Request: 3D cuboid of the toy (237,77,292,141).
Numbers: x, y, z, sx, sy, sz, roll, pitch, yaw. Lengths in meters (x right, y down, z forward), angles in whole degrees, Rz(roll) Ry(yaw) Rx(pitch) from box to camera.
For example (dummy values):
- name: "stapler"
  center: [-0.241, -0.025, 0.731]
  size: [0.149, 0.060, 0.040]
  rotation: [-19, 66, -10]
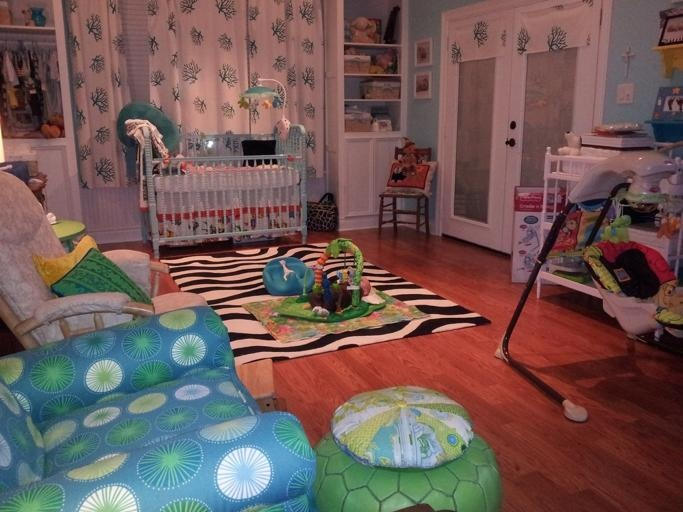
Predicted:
- name: "toy"
  center: [-0.867, -1.708, 5.311]
  size: [0.770, 0.786, 0.583]
  rotation: [-15, 29, -36]

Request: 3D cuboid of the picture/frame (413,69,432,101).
- name: "picture/frame"
  center: [0.999, -2.093, 5.612]
  size: [0.040, 0.397, 0.402]
  rotation: [-7, 13, -29]

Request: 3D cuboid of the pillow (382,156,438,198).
- name: "pillow"
  center: [0.817, -0.905, 5.425]
  size: [0.552, 0.367, 0.289]
  rotation: [2, 12, 19]

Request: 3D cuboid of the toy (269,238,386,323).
- name: "toy"
  center: [-0.105, 0.208, 3.367]
  size: [0.653, 0.452, 0.626]
  rotation: [-1, 17, -12]

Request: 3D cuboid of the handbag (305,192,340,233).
- name: "handbag"
  center: [-0.309, -0.547, 5.922]
  size: [0.513, 0.523, 0.329]
  rotation: [-2, 18, -7]

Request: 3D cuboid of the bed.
- name: "bed"
  center: [-1.374, -0.825, 5.342]
  size: [1.722, 1.336, 1.168]
  rotation: [-6, 16, -18]

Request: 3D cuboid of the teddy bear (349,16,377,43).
- name: "teddy bear"
  center: [0.262, -2.766, 5.794]
  size: [0.331, 0.333, 0.321]
  rotation: [2, -10, -2]

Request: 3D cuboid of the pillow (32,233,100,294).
- name: "pillow"
  center: [-1.207, 0.035, 1.940]
  size: [0.068, 0.213, 0.209]
  rotation: [-42, -13, 32]

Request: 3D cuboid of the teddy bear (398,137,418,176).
- name: "teddy bear"
  center: [0.822, -1.265, 5.577]
  size: [0.185, 0.457, 0.199]
  rotation: [23, 57, 29]

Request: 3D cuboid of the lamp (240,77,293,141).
- name: "lamp"
  center: [-0.868, -1.764, 5.416]
  size: [0.584, 0.693, 0.499]
  rotation: [7, 20, 8]

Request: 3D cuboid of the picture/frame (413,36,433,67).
- name: "picture/frame"
  center: [0.994, -2.467, 5.547]
  size: [0.028, 0.409, 0.423]
  rotation: [-5, 11, -26]
